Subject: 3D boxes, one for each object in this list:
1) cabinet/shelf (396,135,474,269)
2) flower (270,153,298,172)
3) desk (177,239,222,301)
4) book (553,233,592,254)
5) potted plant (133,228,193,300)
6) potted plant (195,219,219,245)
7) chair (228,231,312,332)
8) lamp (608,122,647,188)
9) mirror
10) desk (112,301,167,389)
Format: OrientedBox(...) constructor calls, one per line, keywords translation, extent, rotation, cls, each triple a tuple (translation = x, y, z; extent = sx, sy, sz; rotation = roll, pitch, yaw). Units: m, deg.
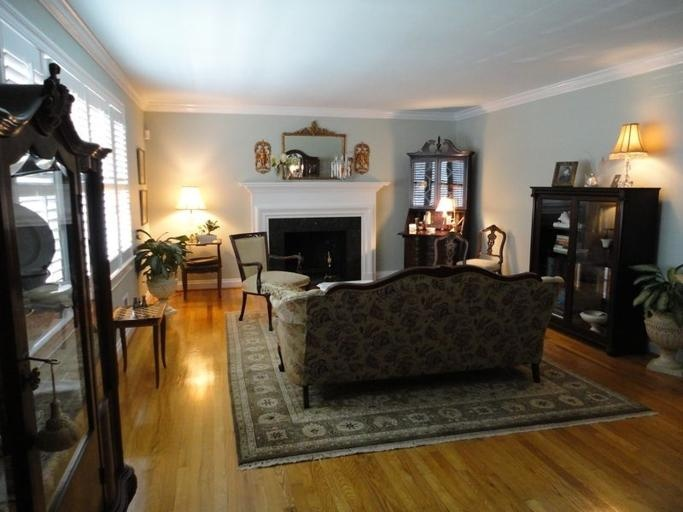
OrientedBox(translation=(1.390, -0.556, 7.254), extent=(1.052, 2.183, 0.629), rotation=(6, 12, 26), cls="cabinet/shelf")
OrientedBox(translation=(-0.834, -1.359, 7.070), extent=(0.293, 0.139, 0.283), rotation=(-2, 27, -1), cls="flower")
OrientedBox(translation=(-1.969, 0.168, 6.831), extent=(0.607, 0.762, 0.633), rotation=(-2, 9, -18), cls="desk")
OrientedBox(translation=(2.379, -0.122, 4.965), extent=(0.238, 0.112, 0.353), rotation=(-1, 0, -13), cls="book")
OrientedBox(translation=(-2.041, 0.164, 5.370), extent=(0.603, 0.837, 0.616), rotation=(-3, 3, 42), cls="potted plant")
OrientedBox(translation=(-1.877, -0.326, 6.741), extent=(0.333, 0.430, 0.382), rotation=(2, 0, -16), cls="potted plant")
OrientedBox(translation=(-0.814, 0.233, 5.673), extent=(0.760, 0.987, 0.804), rotation=(-8, 11, -40), cls="chair")
OrientedBox(translation=(2.726, -0.969, 4.671), extent=(0.402, 0.589, 0.382), rotation=(-9, 16, -33), cls="lamp")
OrientedBox(translation=(-0.458, -1.575, 7.190), extent=(0.958, 0.820, 0.066), rotation=(-2, 15, -9), cls="mirror")
OrientedBox(translation=(-1.690, 0.750, 4.037), extent=(0.401, 0.464, 0.506), rotation=(-2, -2, -13), cls="desk")
